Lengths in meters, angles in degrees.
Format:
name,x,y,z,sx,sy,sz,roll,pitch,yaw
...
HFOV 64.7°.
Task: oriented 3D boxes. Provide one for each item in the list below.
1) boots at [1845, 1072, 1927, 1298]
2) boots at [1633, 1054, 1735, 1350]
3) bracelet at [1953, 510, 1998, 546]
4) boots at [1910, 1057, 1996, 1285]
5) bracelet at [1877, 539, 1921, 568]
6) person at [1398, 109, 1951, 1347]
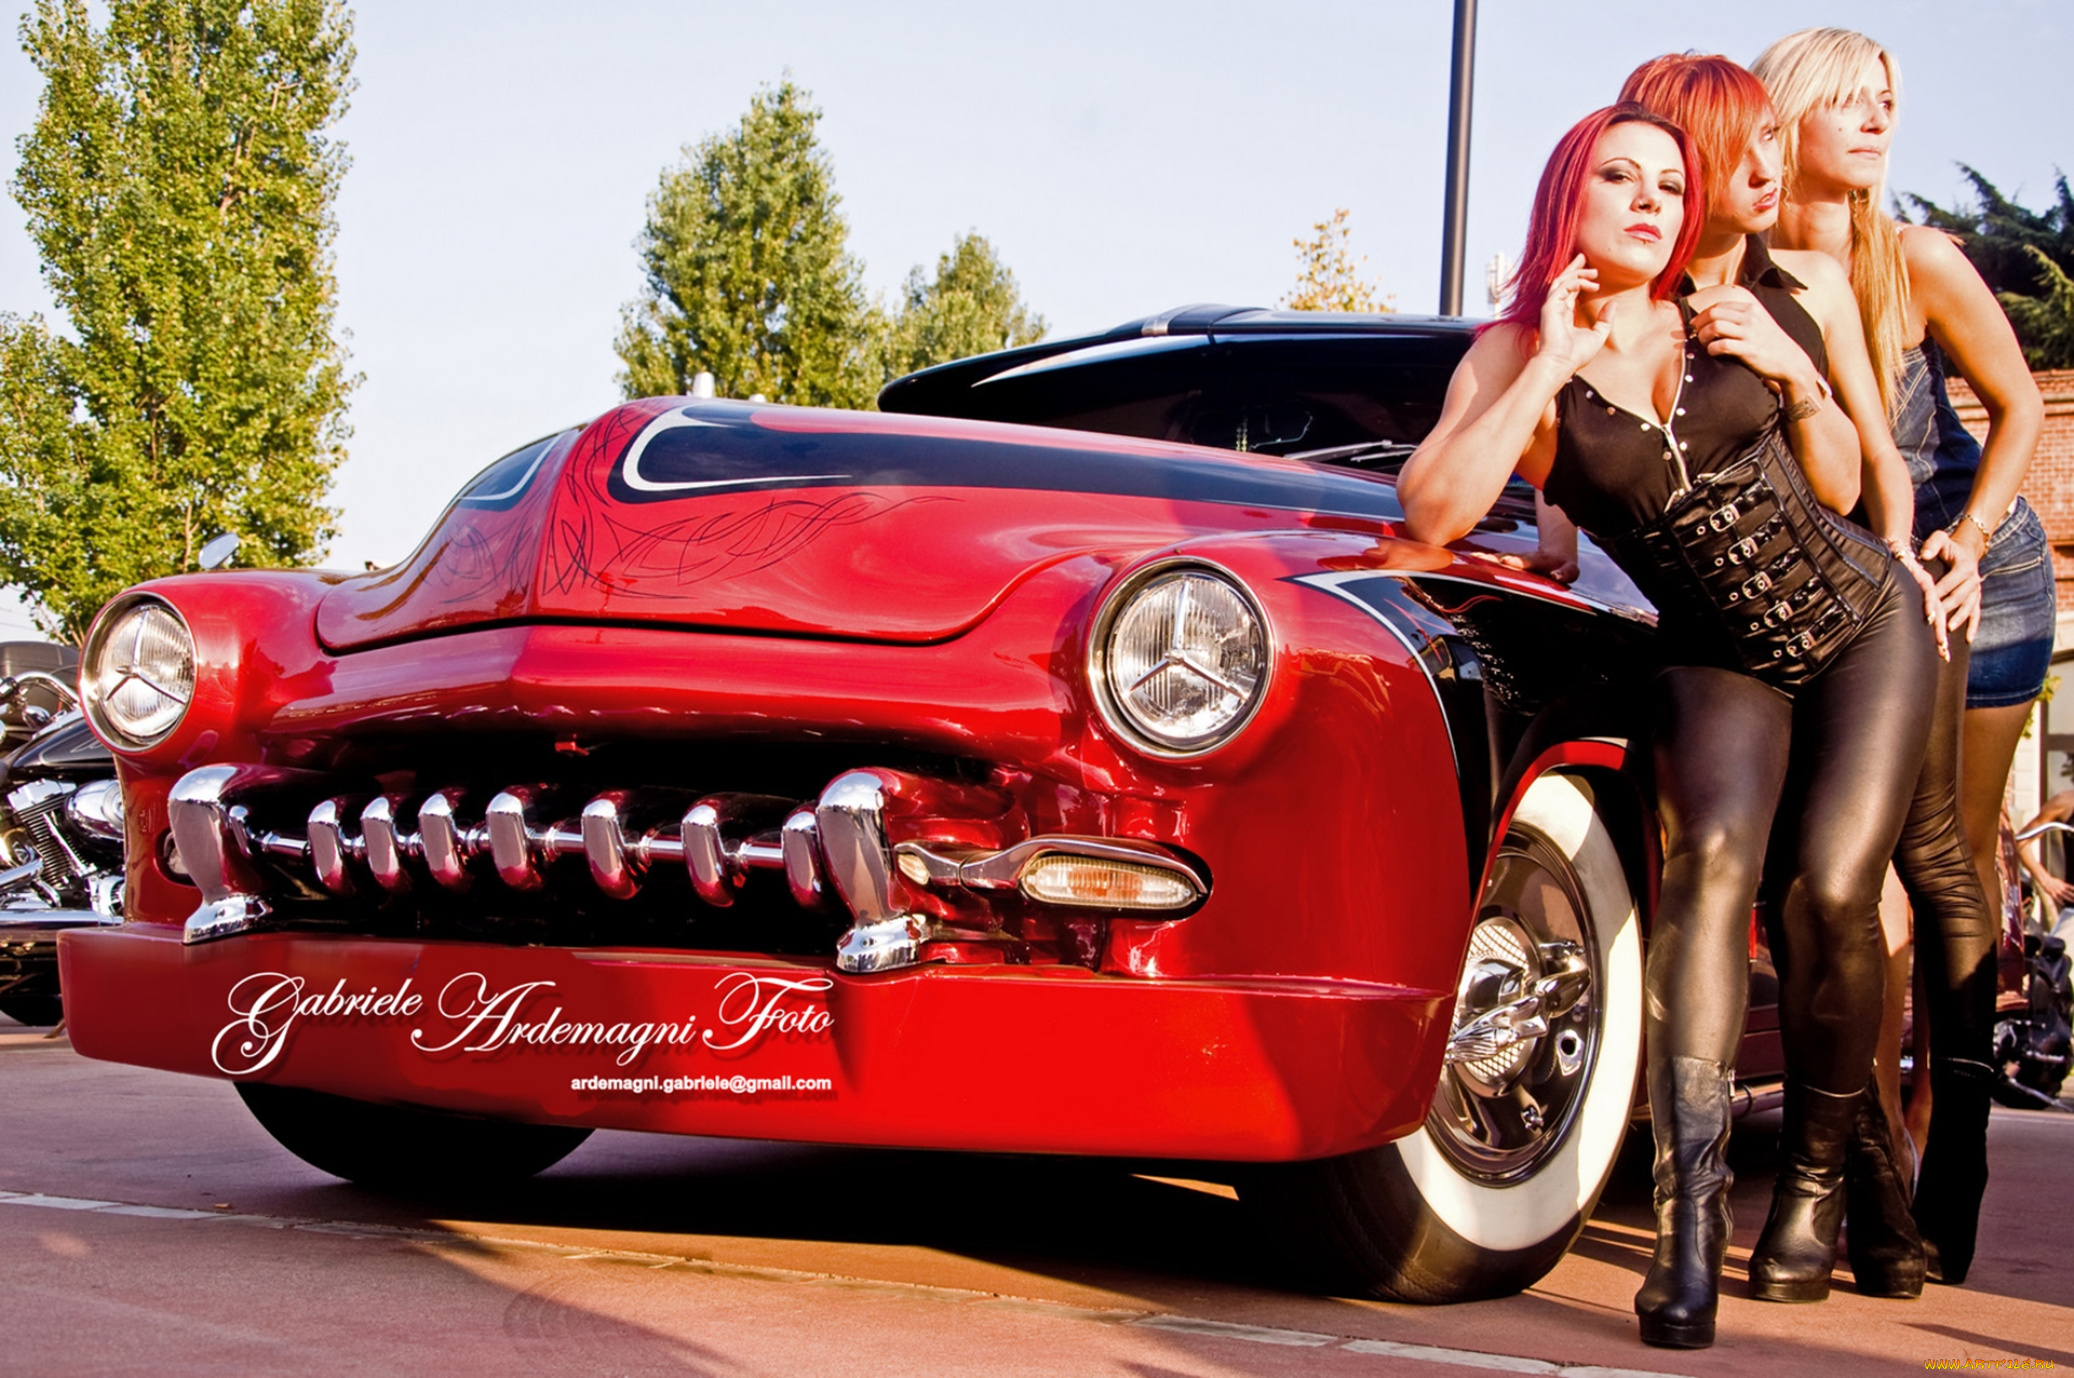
name,x,y,z,sx,sy,sz,roll,pitch,yaw
boots,1.764,1.051,3.437,0.140,0.305,0.458,-18,-1,27
boots,1.154,0.917,2.944,0.156,0.499,0.196,-2,-8,31
bracelet,2.015,-0.335,3.524,0.076,0.036,0.099,3,-8,12
boots,2.095,1.099,3.741,0.211,0.422,0.663,5,-9,24
bracelet,1.720,-0.265,3.245,0.071,0.033,0.081,9,12,-23
person,1.232,0.070,3.084,1.062,2.207,0.410,6,-8,-29
